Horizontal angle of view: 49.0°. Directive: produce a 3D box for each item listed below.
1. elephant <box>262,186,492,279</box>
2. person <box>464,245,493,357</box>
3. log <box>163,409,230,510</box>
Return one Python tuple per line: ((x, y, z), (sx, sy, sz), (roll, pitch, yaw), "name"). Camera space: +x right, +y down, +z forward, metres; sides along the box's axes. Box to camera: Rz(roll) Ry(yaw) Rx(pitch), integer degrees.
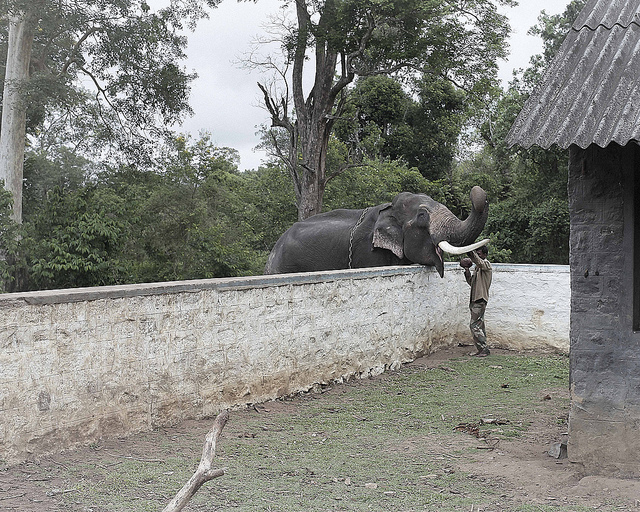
((1.147, -0.388, 13.528), (1.120, 1.945, 5.451), (-3, 7, -40), "elephant")
((2.901, 0.854, 12.825), (0.534, 1.948, 0.711), (2, 5, 8), "person")
((-0.863, 1.462, 4.969), (0.415, 0.775, 0.534), (1, 5, -9), "log")
